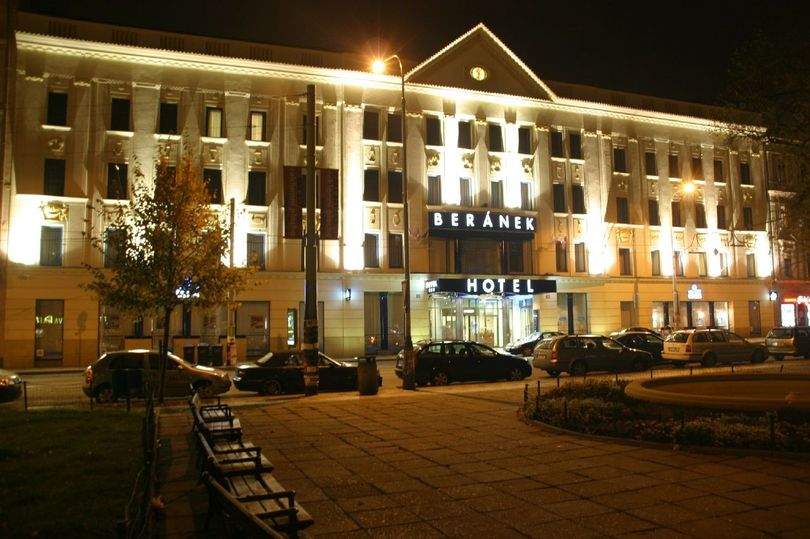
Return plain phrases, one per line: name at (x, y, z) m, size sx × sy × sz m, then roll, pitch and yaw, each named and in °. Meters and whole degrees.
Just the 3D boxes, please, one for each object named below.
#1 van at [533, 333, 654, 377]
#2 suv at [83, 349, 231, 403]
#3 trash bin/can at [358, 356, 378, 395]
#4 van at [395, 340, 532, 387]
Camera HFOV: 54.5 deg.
van at (8.838, 4.109, 37.892) m, size 5.008 × 1.662 × 2.250 m, roll -3°, pitch 0°, yaw -15°
suv at (-10.135, 4.420, 31.732) m, size 5.648 × 2.186 × 2.348 m, roll 0°, pitch -2°, yaw -15°
trash bin/can at (-1.540, 4.387, 32.486) m, size 0.819 × 1.572 × 0.960 m, roll 0°, pitch -7°, yaw -1°
van at (2.830, 4.360, 36.430) m, size 5.411 × 1.730 × 2.451 m, roll -2°, pitch -4°, yaw -16°
